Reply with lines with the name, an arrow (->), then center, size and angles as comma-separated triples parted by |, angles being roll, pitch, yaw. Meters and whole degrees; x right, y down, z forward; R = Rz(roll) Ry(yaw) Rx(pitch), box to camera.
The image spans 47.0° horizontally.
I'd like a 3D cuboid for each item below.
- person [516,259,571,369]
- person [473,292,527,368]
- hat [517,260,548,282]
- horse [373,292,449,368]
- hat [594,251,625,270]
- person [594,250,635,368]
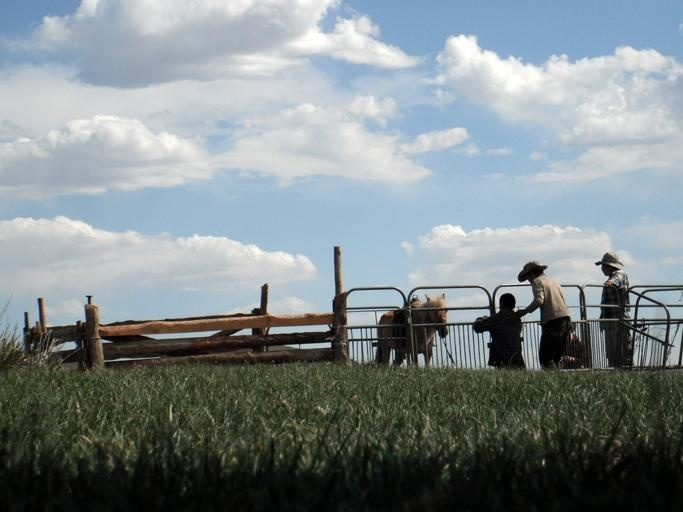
person -> 3.339, 0.957, 12.797 | 0.728, 1.726, 1.103 | -4, -4, 16
person -> 2.463, 1.282, 12.107 | 0.637, 0.879, 0.430 | -3, -4, 14
hat -> 2.805, 0.246, 11.379 | 0.461, 0.194, 0.390 | -35, -20, 26
horse -> 1.275, 1.696, 14.699 | 0.600, 1.608, 2.338 | 0, -9, -28
hat -> 4.183, 0.102, 12.146 | 0.323, 0.187, 0.395 | 8, -13, 2
person -> 4.626, 1.166, 13.263 | 0.504, 1.763, 1.569 | 3, -23, 11
